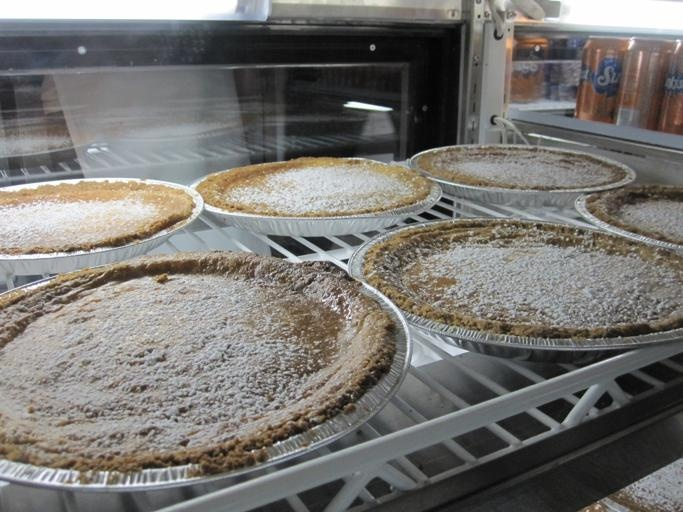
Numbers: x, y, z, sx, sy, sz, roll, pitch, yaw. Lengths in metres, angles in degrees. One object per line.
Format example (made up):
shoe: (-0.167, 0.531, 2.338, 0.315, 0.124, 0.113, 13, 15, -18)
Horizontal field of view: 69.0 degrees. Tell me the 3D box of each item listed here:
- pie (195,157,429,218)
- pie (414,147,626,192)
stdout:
pie: (-0.051, -0.148, 0.994, 0.462, 0.056, 0.437, -10, 19, -26)
pie: (0.446, -0.189, 1.222, 0.517, 0.035, 0.455, -2, 5, 20)
